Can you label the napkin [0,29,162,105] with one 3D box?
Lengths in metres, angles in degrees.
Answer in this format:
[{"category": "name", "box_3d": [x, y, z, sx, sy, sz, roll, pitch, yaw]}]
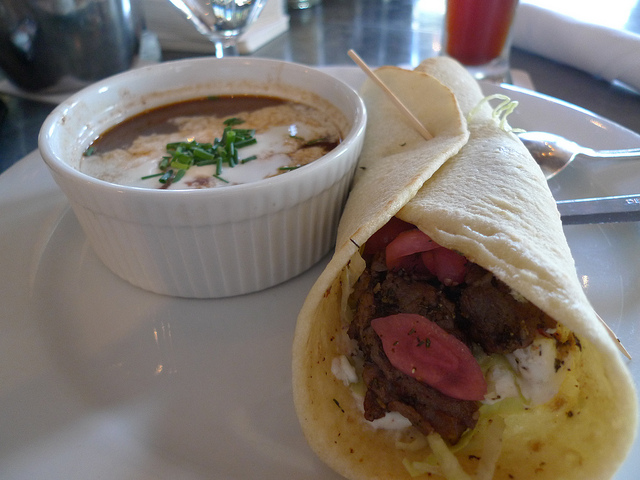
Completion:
[{"category": "napkin", "box_3d": [-1.110, -0.782, 2.537, 0.494, 0.197, 0.466, -26, 32, -30]}]
